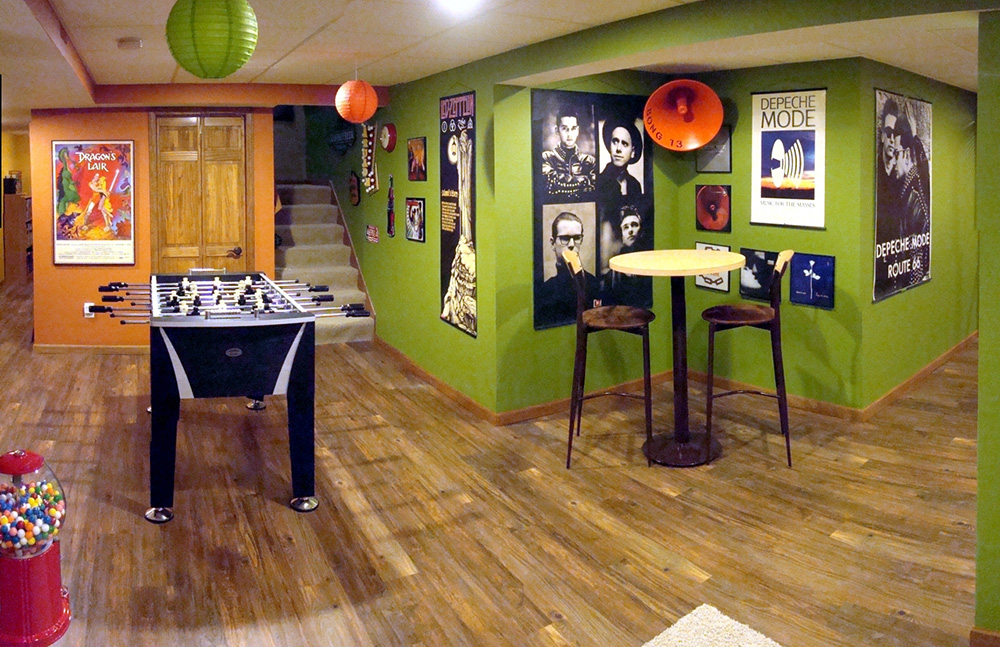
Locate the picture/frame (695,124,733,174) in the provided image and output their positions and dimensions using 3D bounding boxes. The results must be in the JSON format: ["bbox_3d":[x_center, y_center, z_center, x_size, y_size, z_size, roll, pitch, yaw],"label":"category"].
[{"bbox_3d":[2.014,-1.634,6.626,0.022,0.519,0.451,-8,10,-37],"label":"picture/frame"}]

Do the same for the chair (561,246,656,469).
[{"bbox_3d":[0.944,0.198,6.131,0.781,1.722,1.296,0,13,5],"label":"chair"}]

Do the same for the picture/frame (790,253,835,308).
[{"bbox_3d":[2.862,-0.404,6.461,0.058,0.558,0.434,-6,12,-40],"label":"picture/frame"}]

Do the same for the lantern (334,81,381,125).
[{"bbox_3d":[-1.240,-1.925,6.181,0.362,0.379,0.392,5,15,3],"label":"lantern"}]

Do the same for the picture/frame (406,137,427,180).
[{"bbox_3d":[-0.876,-1.752,7.518,0.027,0.556,0.511,0,2,-37],"label":"picture/frame"}]

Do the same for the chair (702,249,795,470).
[{"bbox_3d":[2.078,0.280,5.942,0.705,1.666,0.703,1,-3,15],"label":"chair"}]

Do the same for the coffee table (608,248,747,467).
[{"bbox_3d":[1.468,0.335,5.846,1.008,1.524,1.068,-1,14,19],"label":"coffee table"}]
